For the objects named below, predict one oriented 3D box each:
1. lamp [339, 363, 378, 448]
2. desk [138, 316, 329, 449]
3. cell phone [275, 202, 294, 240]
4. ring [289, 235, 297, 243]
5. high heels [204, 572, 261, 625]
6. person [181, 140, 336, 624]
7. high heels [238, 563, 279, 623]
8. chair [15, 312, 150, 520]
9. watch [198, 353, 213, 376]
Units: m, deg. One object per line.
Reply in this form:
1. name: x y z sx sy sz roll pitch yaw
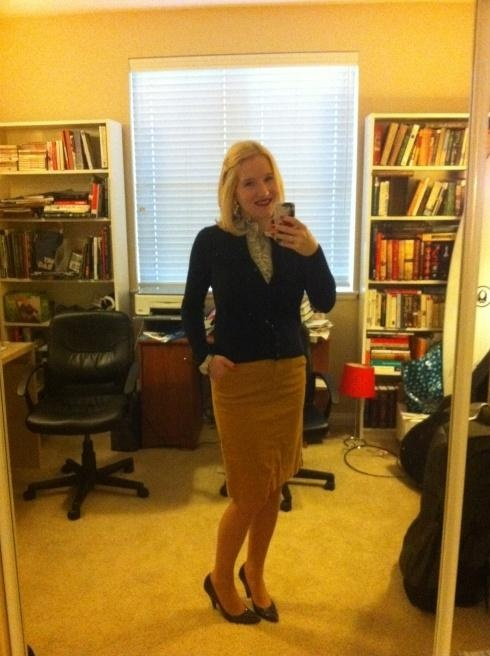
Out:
1. lamp: 0.675 0.444 3.257 0.181 0.511 0.499 2 8 13
2. desk: -0.115 0.345 3.367 1.048 0.688 0.508 0 11 -8
3. cell phone: 0.103 -0.304 1.423 0.052 0.049 0.099 1 8 3
4. ring: 0.123 -0.231 1.391 0.015 0.014 0.004 3 18 9
5. high heels: -0.055 0.850 1.745 0.227 0.149 0.086 2 0 33
6. person: 0.029 0.210 1.549 0.431 1.432 0.233 1 8 9
7. high heels: 0.053 0.851 1.748 0.070 0.112 0.230 1 1 -25
8. chair: -0.775 0.386 2.630 0.559 0.900 0.569 -1 5 -2
9. watch: -0.109 0.103 1.525 0.023 0.054 0.039 14 8 11
